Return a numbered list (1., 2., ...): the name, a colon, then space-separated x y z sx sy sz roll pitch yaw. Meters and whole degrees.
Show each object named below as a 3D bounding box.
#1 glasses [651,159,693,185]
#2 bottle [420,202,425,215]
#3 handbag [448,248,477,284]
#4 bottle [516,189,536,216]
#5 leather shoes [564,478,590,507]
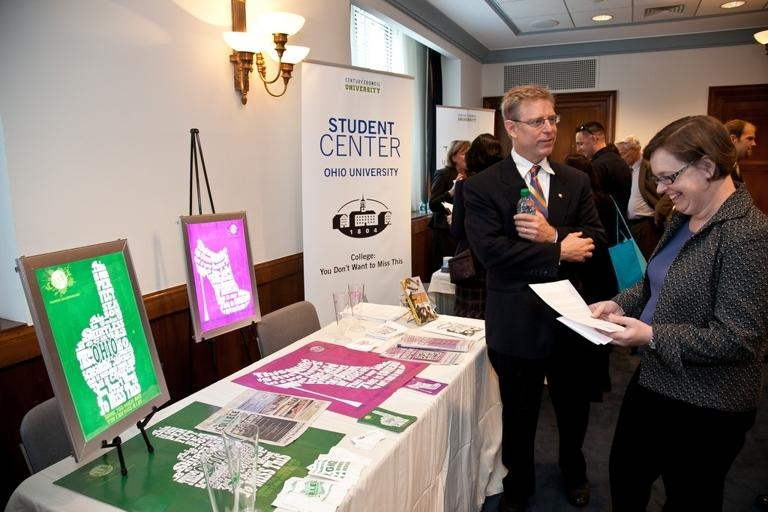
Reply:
1. glasses: 1.089 -0.319 1.829 0.076 0.023 0.073 -32 8 -18
2. bottle: 0.538 -0.665 6.621 0.106 0.154 0.231 -2 12 4
3. handbag: 0.538 0.072 3.262 0.187 0.204 0.125 40 12 14
4. bottle: 0.713 -0.276 2.408 0.095 0.126 0.143 0 12 15
5. leather shoes: 1.120 1.391 2.818 0.109 0.124 0.143 -2 -19 3
